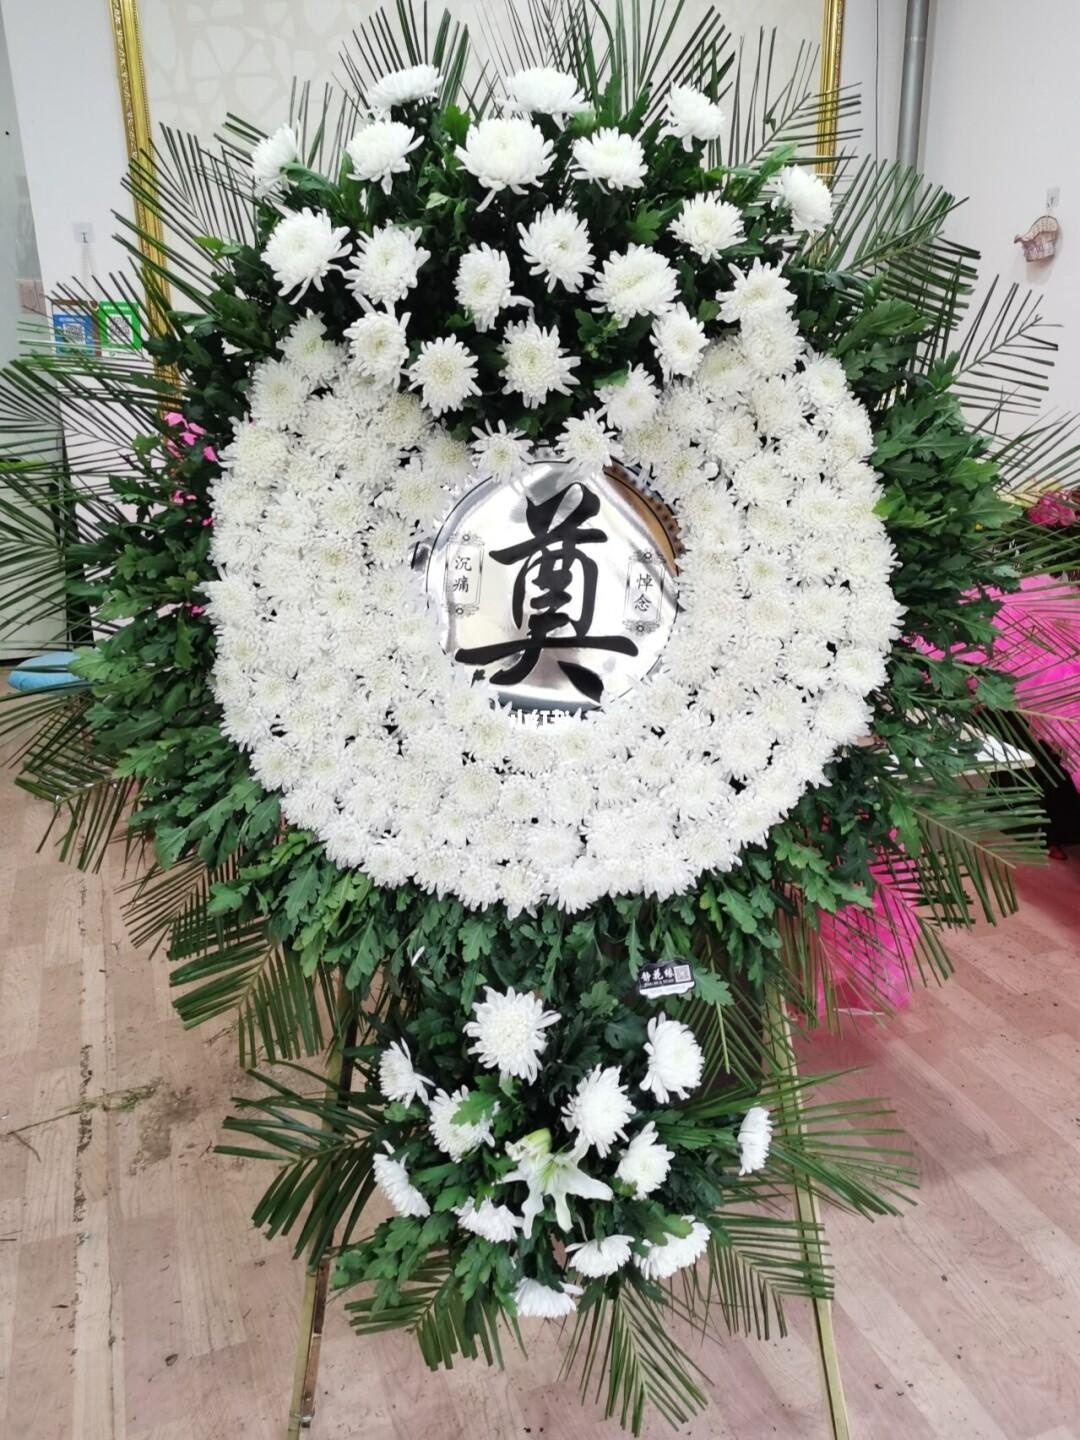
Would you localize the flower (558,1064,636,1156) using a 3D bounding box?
[{"bbox_3d":[0.055,0.370,0.959,0.059,0.093,0.074,21,51,22],"label":"flower"}]

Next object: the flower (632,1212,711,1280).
[{"bbox_3d":[0.133,0.494,0.973,0.077,0.102,0.028,-24,51,-18],"label":"flower"}]

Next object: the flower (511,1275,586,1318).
[{"bbox_3d":[0.003,0.542,0.966,0.051,0.022,0.030,5,46,9],"label":"flower"}]

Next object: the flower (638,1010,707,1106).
[{"bbox_3d":[0.130,0.351,1.010,0.056,0.134,0.076,4,47,8],"label":"flower"}]

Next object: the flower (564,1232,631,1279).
[{"bbox_3d":[0.060,0.493,0.945,0.057,0.051,0.027,-9,47,-5],"label":"flower"}]
